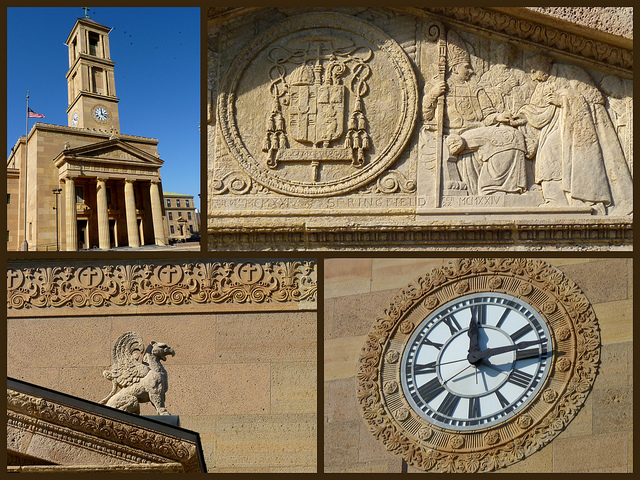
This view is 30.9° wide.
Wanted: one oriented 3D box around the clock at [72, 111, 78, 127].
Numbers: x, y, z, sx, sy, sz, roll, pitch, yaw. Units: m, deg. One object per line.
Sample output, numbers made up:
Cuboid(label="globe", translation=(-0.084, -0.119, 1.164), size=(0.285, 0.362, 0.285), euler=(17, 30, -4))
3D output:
Cuboid(label="clock", translation=(-5.434, -2.692, 25.910), size=(0.022, 0.427, 0.409), euler=(6, -13, -27))

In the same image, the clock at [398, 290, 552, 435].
Cuboid(label="clock", translation=(1.882, 1.531, 13.804), size=(1.395, 1.424, 0.096), euler=(-10, -8, 9))
